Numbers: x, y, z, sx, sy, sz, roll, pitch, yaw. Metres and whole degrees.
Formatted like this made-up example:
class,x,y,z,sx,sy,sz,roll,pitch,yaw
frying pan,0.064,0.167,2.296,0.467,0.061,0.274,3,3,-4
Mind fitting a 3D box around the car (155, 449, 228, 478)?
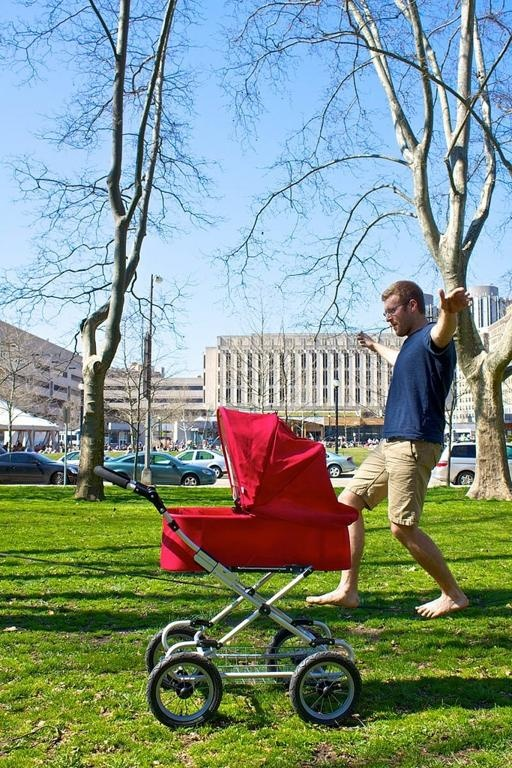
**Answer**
class,x,y,z,sx,sy,sz,roll,pitch,yaw
car,-2.640,2.506,30.940,3.177,1.085,1.375,2,-6,2
